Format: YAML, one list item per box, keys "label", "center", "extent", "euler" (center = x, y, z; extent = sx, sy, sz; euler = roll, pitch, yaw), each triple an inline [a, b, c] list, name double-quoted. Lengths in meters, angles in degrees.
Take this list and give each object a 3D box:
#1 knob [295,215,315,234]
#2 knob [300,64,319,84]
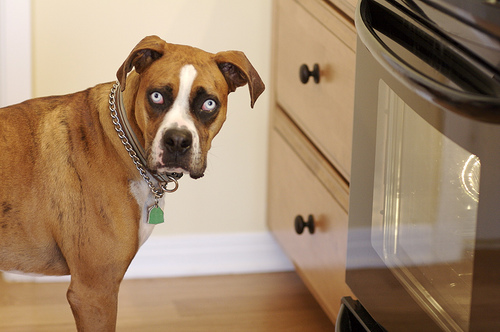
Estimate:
- label: "knob"
  center: [0.174, 0.183, 1.631]
  extent: [0.042, 0.065, 0.095]
  euler: [-3, 2, -14]
- label: "knob"
  center: [0.171, -0.264, 1.505]
  extent: [0.056, 0.041, 0.041]
  euler: [-3, 13, -8]
